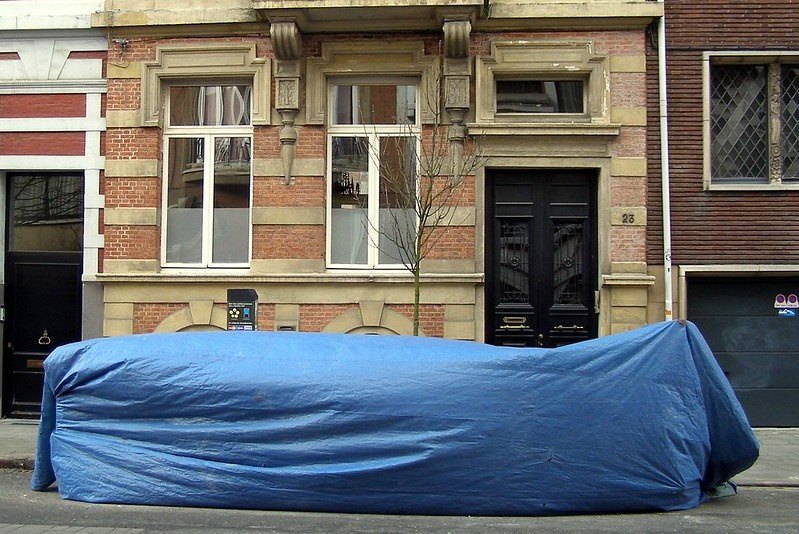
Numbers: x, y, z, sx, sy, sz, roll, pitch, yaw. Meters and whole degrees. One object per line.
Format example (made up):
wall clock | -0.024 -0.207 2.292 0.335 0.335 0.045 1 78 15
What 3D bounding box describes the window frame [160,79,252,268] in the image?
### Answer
window frame | -3.201 -1.576 25.811 1.623 3.191 0.235 -1 -11 1
